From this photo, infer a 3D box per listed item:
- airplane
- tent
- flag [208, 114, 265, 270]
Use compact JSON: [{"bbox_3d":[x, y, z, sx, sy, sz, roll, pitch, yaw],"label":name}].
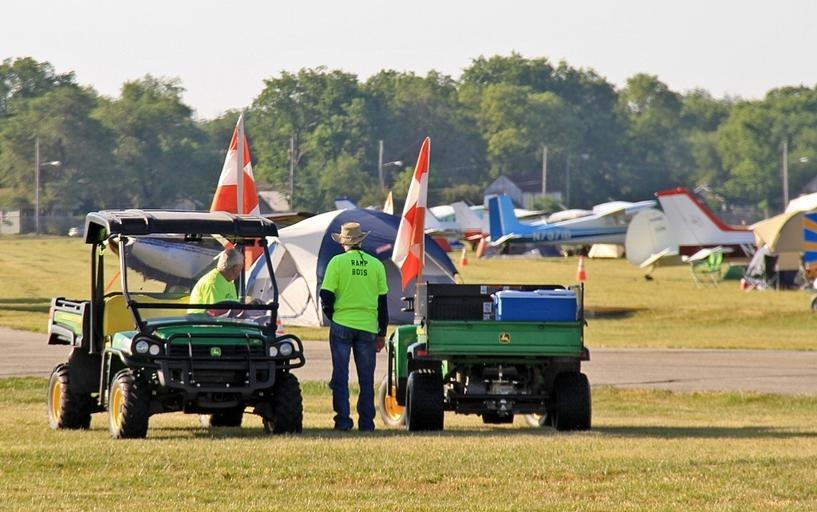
[{"bbox_3d":[15.091,-2.675,169.244,37.131,7.939,8.374,0,-2,2],"label":"airplane"},{"bbox_3d":[-4.005,-0.102,137.731,10.285,6.286,10.100,2,-5,-35],"label":"tent"},{"bbox_3d":[-12.284,-6.636,132.129,3.061,7.741,4.997,2,-7,-5],"label":"flag"}]
